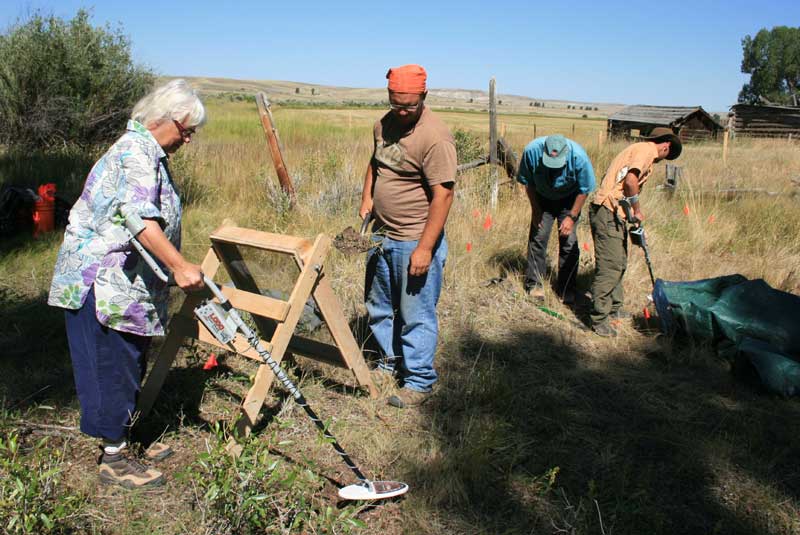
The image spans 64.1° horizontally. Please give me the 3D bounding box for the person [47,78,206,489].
[{"bbox_3d":[-2.183,0.156,5.191,1.211,3.187,0.879,-10,19,-31],"label":"person"}]

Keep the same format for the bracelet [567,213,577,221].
[{"bbox_3d":[2.181,-0.632,8.074,0.073,0.033,0.079,11,-15,-44],"label":"bracelet"}]

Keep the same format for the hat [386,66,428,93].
[{"bbox_3d":[0.060,-1.674,5.701,0.347,0.250,0.365,1,18,-1],"label":"hat"}]

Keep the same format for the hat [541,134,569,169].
[{"bbox_3d":[1.865,-1.380,7.689,0.257,0.434,0.156,5,-4,19],"label":"hat"}]

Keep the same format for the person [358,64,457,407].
[{"bbox_3d":[0.032,-0.300,6.202,0.642,3.161,0.910,-12,21,-36],"label":"person"}]

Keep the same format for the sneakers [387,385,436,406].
[{"bbox_3d":[0.108,1.264,6.254,0.458,0.223,0.179,-1,12,-10],"label":"sneakers"}]

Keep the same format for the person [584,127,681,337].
[{"bbox_3d":[2.714,-0.477,7.804,0.779,2.381,1.147,15,22,40],"label":"person"}]

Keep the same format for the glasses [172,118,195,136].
[{"bbox_3d":[-1.785,-1.137,5.236,0.115,0.036,0.115,35,6,4],"label":"glasses"}]

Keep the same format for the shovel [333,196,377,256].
[{"bbox_3d":[-0.451,-0.282,6.296,0.346,0.405,0.734,0,18,-2],"label":"shovel"}]

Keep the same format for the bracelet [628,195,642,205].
[{"bbox_3d":[2.763,-0.806,7.571,0.095,0.072,0.104,6,48,34],"label":"bracelet"}]
